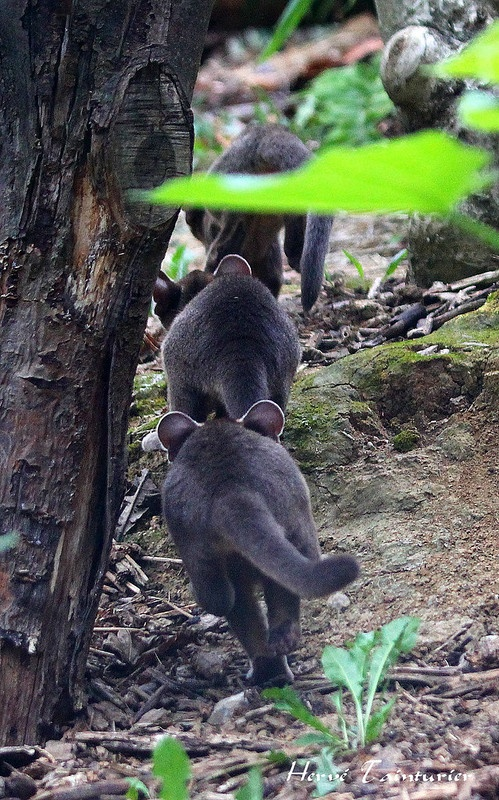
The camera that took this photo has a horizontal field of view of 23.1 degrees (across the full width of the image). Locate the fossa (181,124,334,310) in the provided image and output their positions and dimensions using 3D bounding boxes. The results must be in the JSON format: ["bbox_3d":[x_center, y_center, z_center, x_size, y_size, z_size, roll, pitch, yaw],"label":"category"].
[{"bbox_3d":[0.020,-1.082,7.047,0.399,0.818,1.539,11,-2,-23],"label":"fossa"}]

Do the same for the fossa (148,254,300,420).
[{"bbox_3d":[-0.109,-0.273,5.615,0.396,0.455,1.118,-3,19,-9],"label":"fossa"}]
